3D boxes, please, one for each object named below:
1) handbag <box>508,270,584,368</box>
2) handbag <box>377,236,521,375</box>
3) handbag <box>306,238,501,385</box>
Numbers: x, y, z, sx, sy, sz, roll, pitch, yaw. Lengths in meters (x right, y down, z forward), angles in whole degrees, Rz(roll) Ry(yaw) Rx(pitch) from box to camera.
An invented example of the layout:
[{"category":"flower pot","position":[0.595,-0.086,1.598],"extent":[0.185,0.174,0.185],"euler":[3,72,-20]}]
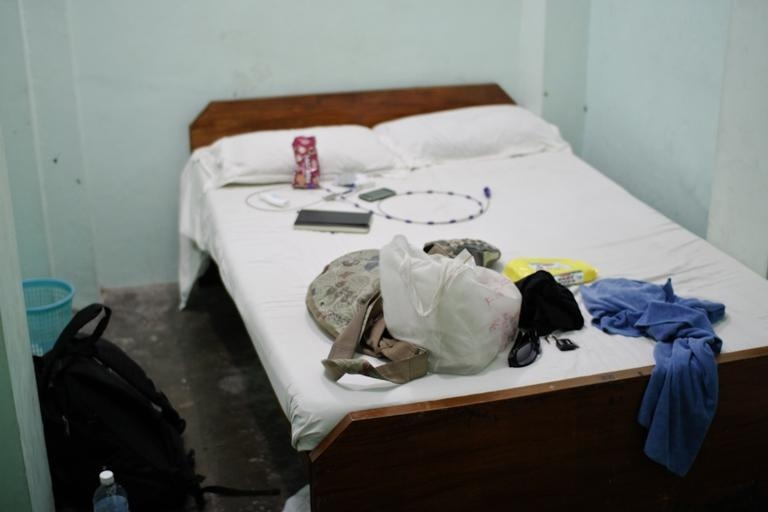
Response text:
[{"category":"handbag","position":[0.618,0.224,2.174],"extent":[0.296,0.343,0.138],"euler":[-13,17,-17]},{"category":"handbag","position":[0.252,0.155,2.132],"extent":[0.509,0.425,0.480],"euler":[-3,25,7]},{"category":"handbag","position":[-0.027,0.115,2.315],"extent":[0.567,0.509,0.146],"euler":[-36,29,15]}]
